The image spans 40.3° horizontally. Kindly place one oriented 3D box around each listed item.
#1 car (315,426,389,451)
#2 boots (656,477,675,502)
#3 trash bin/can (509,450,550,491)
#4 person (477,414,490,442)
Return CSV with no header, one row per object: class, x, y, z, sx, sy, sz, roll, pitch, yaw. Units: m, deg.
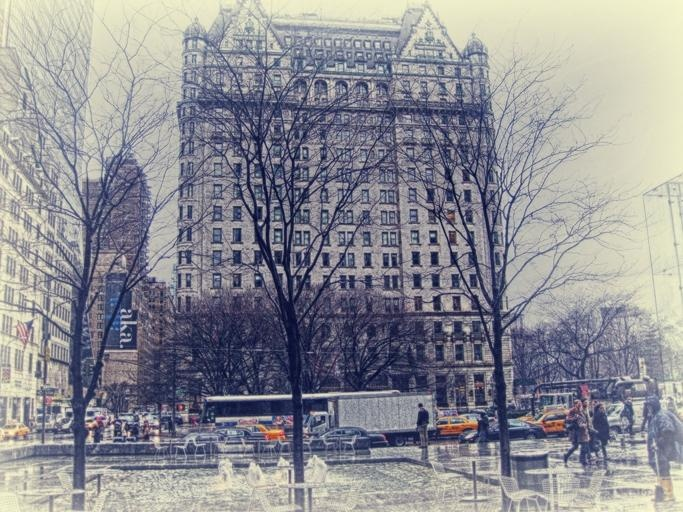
car,0.671,9.473,49.875,4.176,1.236,1.838,4,-17,-10
boots,10.126,7.425,29.464,0.673,0.795,0.698,-2,-13,6
trash bin/can,6.265,7.056,30.424,1.117,1.180,1.116,8,-11,-41
person,8.101,9.862,53.111,0.596,1.720,1.335,-5,-17,9
